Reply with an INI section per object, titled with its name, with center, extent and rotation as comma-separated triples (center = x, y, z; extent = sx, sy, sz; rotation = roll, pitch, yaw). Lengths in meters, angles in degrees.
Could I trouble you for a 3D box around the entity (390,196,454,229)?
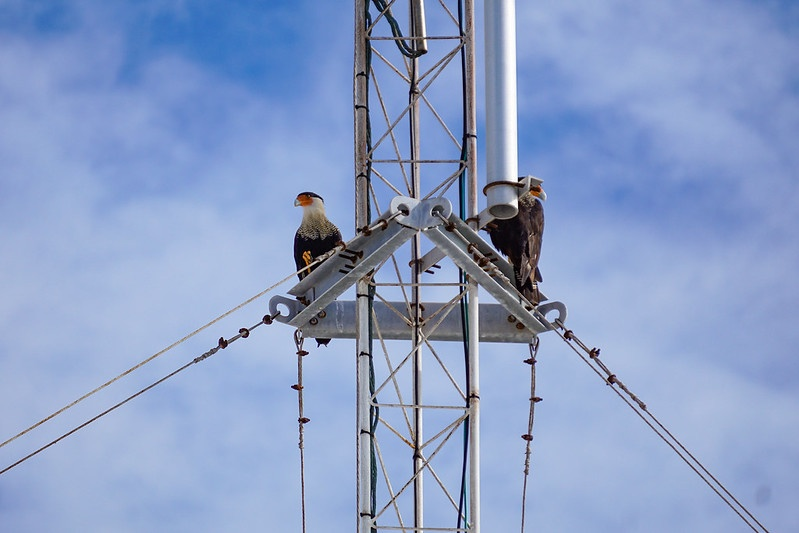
[entity]
center = 0.451, -0.853, 31.212
extent = 0.746, 1.349, 0.440
rotation = -16, -78, -20
